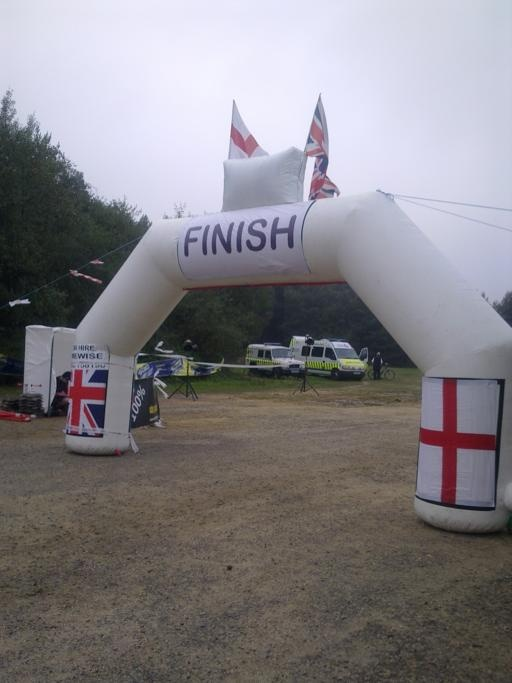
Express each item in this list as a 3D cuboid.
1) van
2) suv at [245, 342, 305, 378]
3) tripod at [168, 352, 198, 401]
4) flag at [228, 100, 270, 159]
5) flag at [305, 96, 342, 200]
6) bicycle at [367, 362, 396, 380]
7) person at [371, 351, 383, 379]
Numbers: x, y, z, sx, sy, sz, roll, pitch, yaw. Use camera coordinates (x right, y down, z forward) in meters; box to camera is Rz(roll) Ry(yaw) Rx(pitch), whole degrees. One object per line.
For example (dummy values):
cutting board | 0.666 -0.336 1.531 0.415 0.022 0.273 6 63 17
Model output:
van | 3.683 0.822 27.808 1.943 2.347 4.753 2 -2 -24
suv | 0.973 0.904 26.717 1.389 1.235 2.499 0 0 -31
tripod | -2.058 1.059 15.568 1.130 1.235 0.842 3 9 21
flag | -0.154 -2.534 6.688 0.616 0.063 0.875 0 -38 10
flag | 0.774 -2.221 6.324 0.385 1.301 0.569 2 -3 8
bicycle | 6.554 1.581 28.622 1.505 0.956 0.794 -3 10 -1
person | 6.031 1.226 26.947 0.495 1.343 1.248 1 -3 12
